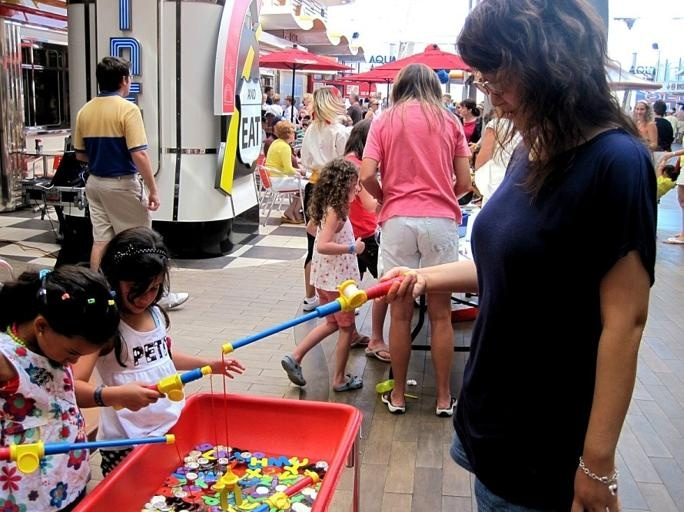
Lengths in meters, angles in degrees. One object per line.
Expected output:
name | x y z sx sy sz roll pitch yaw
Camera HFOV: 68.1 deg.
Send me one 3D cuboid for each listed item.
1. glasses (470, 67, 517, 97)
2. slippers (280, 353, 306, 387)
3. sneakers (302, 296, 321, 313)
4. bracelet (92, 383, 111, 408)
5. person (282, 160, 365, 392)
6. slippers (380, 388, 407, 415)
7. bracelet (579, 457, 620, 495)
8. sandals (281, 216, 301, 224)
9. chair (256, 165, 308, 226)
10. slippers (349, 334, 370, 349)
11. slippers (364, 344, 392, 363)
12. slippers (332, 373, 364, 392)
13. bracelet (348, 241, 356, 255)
glasses | 0.376 -0.411 1.252 0.093 0.031 0.090 -7 36 -31
slippers | -0.337 0.807 3.609 0.122 0.295 0.102 -45 25 -26
sneakers | -0.308 0.481 5.002 0.087 0.095 0.217 3 17 19
bracelet | -0.839 0.493 1.798 0.044 0.073 0.068 12 21 -7
person | -0.107 0.144 3.651 0.535 1.668 0.601 2 12 9
slippers | 0.351 1.017 3.528 0.083 0.084 0.207 0 9 -6
bracelet | 0.596 0.505 1.180 0.079 0.070 0.034 42 10 21
sandals | -0.896 -0.636 9.011 0.370 0.113 0.137 -1 15 -4
chair | -0.984 -1.073 8.443 0.722 1.057 0.921 -5 11 -16
slippers | 0.156 0.755 4.447 0.188 0.074 0.072 -6 11 -29
slippers | 0.310 0.811 4.218 0.181 0.070 0.103 7 12 42
slippers | 0.042 0.941 3.743 0.187 0.084 0.101 -4 12 -26
bracelet | 0.071 -0.055 3.564 0.023 0.061 0.066 -5 45 3
